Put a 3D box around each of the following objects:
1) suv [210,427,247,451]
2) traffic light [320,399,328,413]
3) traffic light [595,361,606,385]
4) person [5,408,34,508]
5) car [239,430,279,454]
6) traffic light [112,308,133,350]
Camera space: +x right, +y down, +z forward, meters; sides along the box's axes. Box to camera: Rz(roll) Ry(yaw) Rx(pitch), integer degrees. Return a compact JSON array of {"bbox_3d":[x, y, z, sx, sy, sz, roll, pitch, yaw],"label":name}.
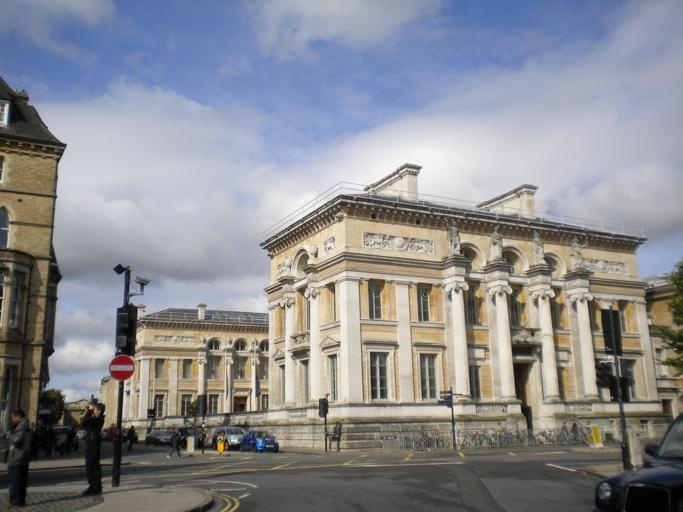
[{"bbox_3d":[-8.050,13.072,46.865,1.597,1.236,3.139,10,-27,-30],"label":"suv"},{"bbox_3d":[-1.175,9.522,41.301,0.498,0.971,0.927,1,-18,-4],"label":"traffic light"},{"bbox_3d":[8.686,3.904,21.776,0.366,0.798,1.060,-7,-19,19],"label":"traffic light"},{"bbox_3d":[-8.407,5.351,16.958,0.438,2.163,0.626,-6,-19,16],"label":"person"},{"bbox_3d":[-5.326,12.025,42.137,1.264,0.810,2.535,11,-29,-22],"label":"car"},{"bbox_3d":[-6.754,2.288,20.411,0.564,1.469,0.590,5,-19,-15],"label":"traffic light"}]
